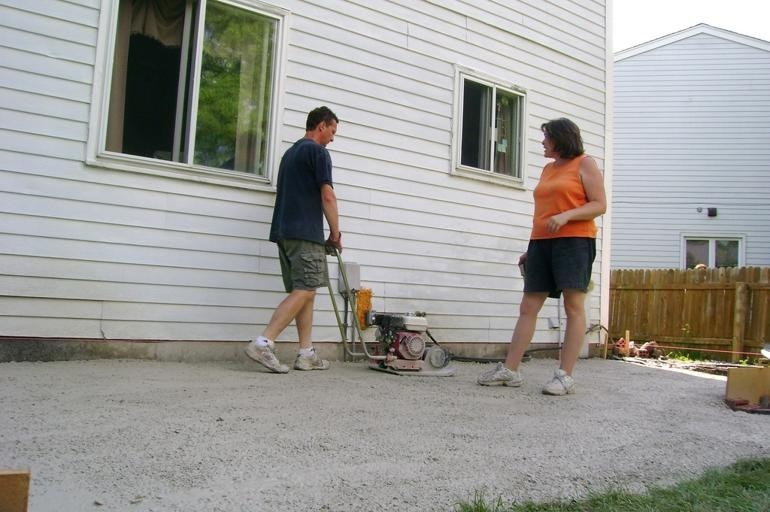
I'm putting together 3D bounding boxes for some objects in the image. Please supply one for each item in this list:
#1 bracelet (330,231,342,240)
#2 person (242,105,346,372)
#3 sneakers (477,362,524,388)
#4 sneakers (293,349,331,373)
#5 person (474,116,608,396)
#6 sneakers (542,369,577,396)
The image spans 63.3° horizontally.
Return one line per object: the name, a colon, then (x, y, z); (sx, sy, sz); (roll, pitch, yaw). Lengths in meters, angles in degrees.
bracelet: (-0.476, -0.199, 6.100); (0.126, 0.059, 0.090); (1, -1, -8)
person: (-0.794, -0.140, 5.871); (0.657, 2.492, 1.010); (5, 11, 9)
sneakers: (1.069, 1.117, 5.772); (0.447, 0.221, 0.179); (2, -4, -6)
sneakers: (-0.725, 1.022, 6.105); (0.393, 0.197, 0.163); (2, 0, -40)
person: (1.472, 0.019, 5.504); (0.779, 2.404, 0.738); (8, 12, 24)
sneakers: (1.521, 1.113, 5.429); (0.336, 0.169, 0.151); (8, -10, -44)
